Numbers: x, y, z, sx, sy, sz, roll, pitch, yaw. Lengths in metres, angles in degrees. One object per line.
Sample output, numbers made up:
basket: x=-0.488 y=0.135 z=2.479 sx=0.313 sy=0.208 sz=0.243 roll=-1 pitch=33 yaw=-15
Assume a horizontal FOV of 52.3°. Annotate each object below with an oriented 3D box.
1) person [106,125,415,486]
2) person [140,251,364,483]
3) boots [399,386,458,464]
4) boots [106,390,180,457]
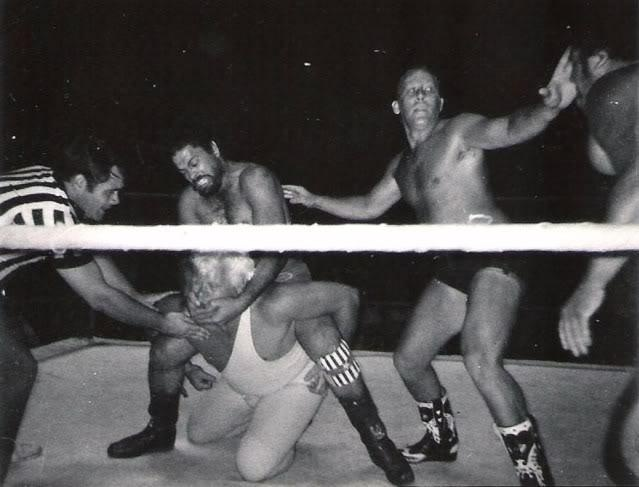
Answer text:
person: x=-0.244 y=0.248 z=2.464 sx=1.268 sy=1.330 sz=0.652 roll=2 pitch=9 yaw=32
person: x=-0.252 y=0.492 z=2.457 sx=0.702 sy=0.882 sz=0.515 roll=3 pitch=59 yaw=35
boots: x=0.410 y=0.711 z=2.495 sx=0.255 sy=0.243 sz=0.117 roll=-4 pitch=2 yaw=-4
boots: x=-0.665 y=0.707 z=2.572 sx=0.260 sy=0.228 sz=0.118 roll=-9 pitch=3 yaw=16
